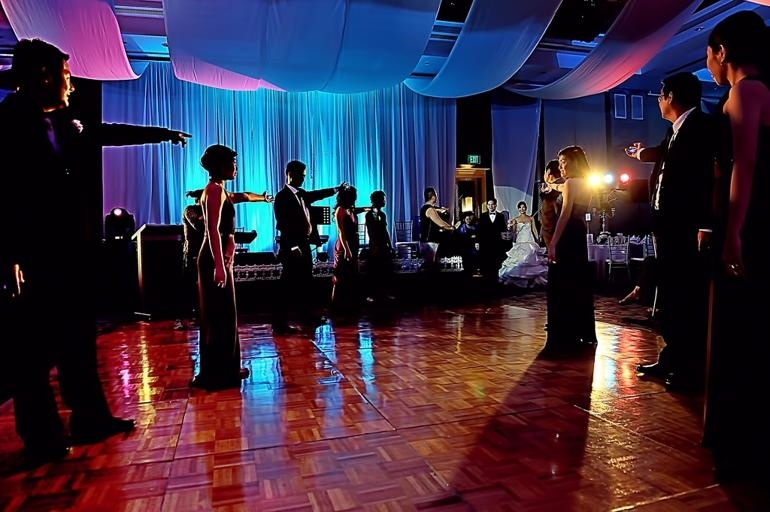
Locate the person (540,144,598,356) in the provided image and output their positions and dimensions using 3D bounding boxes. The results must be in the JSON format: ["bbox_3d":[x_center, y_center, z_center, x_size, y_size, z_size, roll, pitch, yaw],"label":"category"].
[{"bbox_3d":[1.590,-0.067,4.469,0.571,1.767,0.517,2,-3,-44],"label":"person"}]

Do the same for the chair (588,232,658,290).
[{"bbox_3d":[3.637,0.080,7.742,0.881,1.223,0.802,0,7,8],"label":"chair"}]

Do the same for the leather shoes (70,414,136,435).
[{"bbox_3d":[-1.658,0.975,2.991,0.334,0.144,0.112,0,-6,-22],"label":"leather shoes"}]

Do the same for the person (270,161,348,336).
[{"bbox_3d":[-0.931,-0.095,5.440,0.369,1.807,0.853,3,12,20],"label":"person"}]

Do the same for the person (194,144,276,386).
[{"bbox_3d":[-1.259,0.076,3.727,0.420,1.755,0.651,-4,11,-16],"label":"person"}]

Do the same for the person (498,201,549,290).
[{"bbox_3d":[2.552,-0.226,9.206,1.050,1.602,0.983,10,-14,-35],"label":"person"}]

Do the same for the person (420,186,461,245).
[{"bbox_3d":[0.859,-0.601,7.997,0.547,0.941,0.638,-2,11,-5],"label":"person"}]
